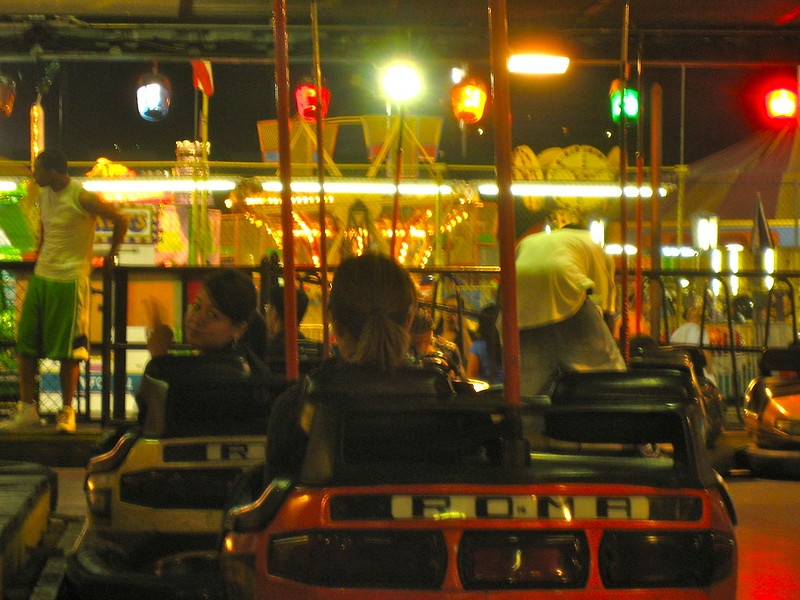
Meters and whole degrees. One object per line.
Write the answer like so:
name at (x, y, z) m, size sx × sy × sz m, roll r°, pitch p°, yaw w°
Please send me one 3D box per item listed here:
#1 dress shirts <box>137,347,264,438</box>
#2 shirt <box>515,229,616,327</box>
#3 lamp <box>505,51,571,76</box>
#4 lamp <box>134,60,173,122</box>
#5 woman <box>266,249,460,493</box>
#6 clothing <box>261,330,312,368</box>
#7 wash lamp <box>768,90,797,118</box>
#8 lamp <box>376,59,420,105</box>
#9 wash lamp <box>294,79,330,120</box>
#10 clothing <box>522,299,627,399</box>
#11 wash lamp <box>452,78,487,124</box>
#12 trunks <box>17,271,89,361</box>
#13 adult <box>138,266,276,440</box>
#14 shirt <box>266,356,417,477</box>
dress shirts at (-1.296, 0.620, 7.938) m, size 0.679 × 0.430 × 0.556 m, roll -6°, pitch -9°, yaw 20°
shirt at (1.202, -0.152, 9.038) m, size 0.624 × 0.632 × 0.344 m, roll -4°, pitch -38°, yaw 15°
lamp at (1.360, -2.334, 11.931) m, size 0.564 × 0.167 × 1.350 m, roll 1°, pitch 9°, yaw 6°
lamp at (-3.838, -3.230, 18.969) m, size 0.459 × 0.707 × 0.462 m, roll -1°, pitch 9°, yaw -8°
woman at (-0.196, 0.344, 7.199) m, size 1.242 × 2.107 × 1.153 m, roll 0°, pitch 7°, yaw -3°
clothing at (-0.911, 0.396, 9.701) m, size 0.260 × 0.313 × 0.359 m, roll 0°, pitch -11°, yaw -3°
wash lamp at (5.142, -2.689, 16.420) m, size 0.439 × 0.400 × 0.238 m, roll -1°, pitch 9°, yaw -7°
lamp at (-0.015, -2.316, 13.049) m, size 0.582 × 0.139 × 0.598 m, roll -7°, pitch -39°, yaw 15°
wash lamp at (-1.340, -3.060, 18.698) m, size 0.528 × 0.444 × 0.580 m, roll 5°, pitch 15°, yaw 2°
clothing at (1.221, 0.354, 8.940) m, size 0.873 × 0.675 × 0.582 m, roll -22°, pitch -12°, yaw 17°
wash lamp at (1.005, -2.834, 17.178) m, size 0.531 × 0.588 × 0.523 m, roll -2°, pitch -5°, yaw 20°
trunks at (-2.992, 0.141, 10.582) m, size 0.644 × 0.850 × 0.464 m, roll 4°, pitch -11°, yaw 4°
adult at (-1.274, 0.447, 8.478) m, size 1.082 × 1.285 × 0.897 m, roll 5°, pitch -11°, yaw -5°
shirt at (-0.129, 0.663, 7.075) m, size 0.780 × 0.603 × 1.170 m, roll 1°, pitch -1°, yaw 5°
